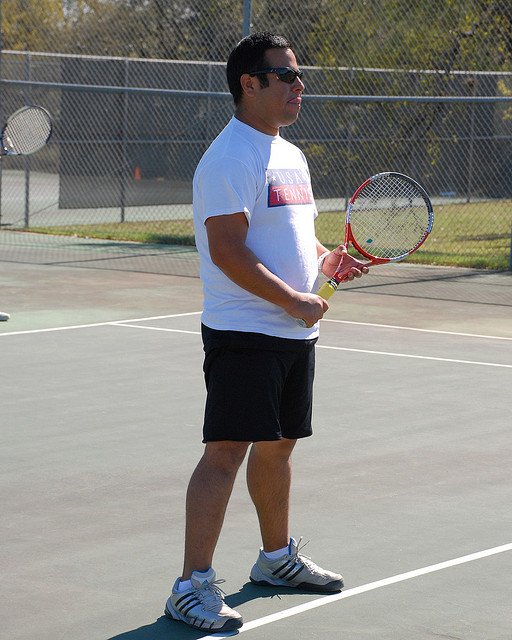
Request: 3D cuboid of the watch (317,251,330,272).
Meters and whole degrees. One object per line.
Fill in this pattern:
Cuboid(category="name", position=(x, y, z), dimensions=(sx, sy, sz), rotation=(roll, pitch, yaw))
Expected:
Cuboid(category="watch", position=(0.238, -0.206, 2.591), dimensions=(0.059, 0.040, 0.058), rotation=(-3, 35, 3))

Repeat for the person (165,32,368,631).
Cuboid(category="person", position=(-0.005, 0.016, 2.096), dimensions=(0.624, 1.656, 0.421), rotation=(-9, 15, -44))

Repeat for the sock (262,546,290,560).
Cuboid(category="sock", position=(0.068, 0.712, 2.288), dimensions=(0.053, 0.019, 0.037), rotation=(-15, -7, -11))
